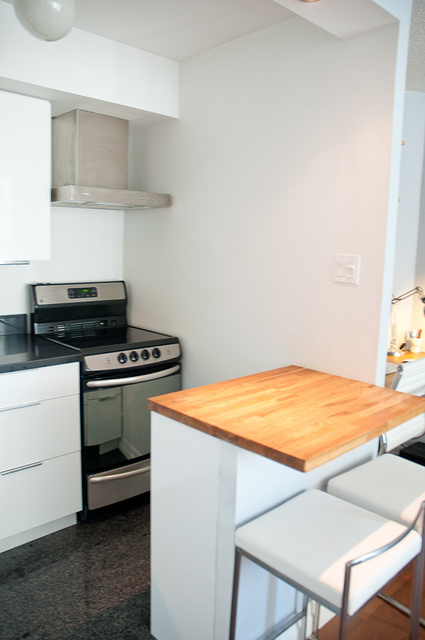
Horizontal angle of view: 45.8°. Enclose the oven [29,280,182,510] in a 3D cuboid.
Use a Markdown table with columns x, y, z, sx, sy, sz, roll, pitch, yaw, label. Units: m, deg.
| x | y | z | sx | sy | sz | roll | pitch | yaw | label |
| --- | --- | --- | --- | --- | --- | --- | --- | --- | --- |
| -0.558 | 0.362 | 2.746 | 0.663 | 1.108 | 0.714 | -6 | 9 | -41 | oven |
